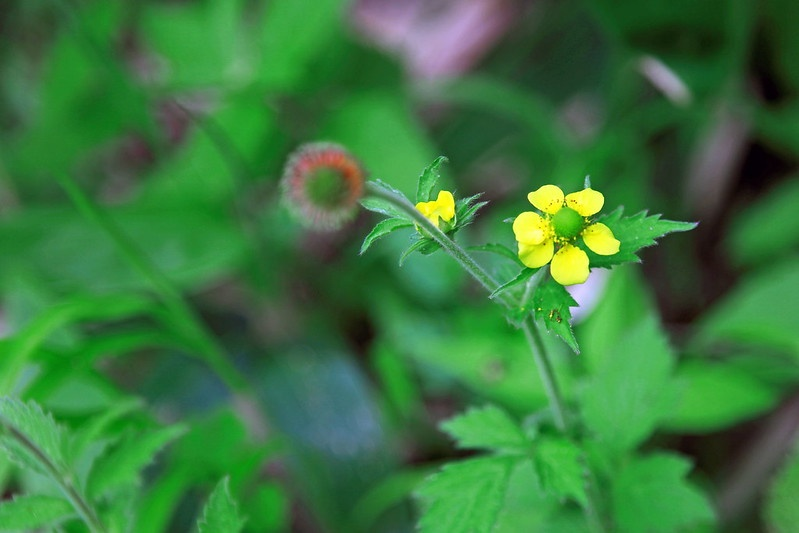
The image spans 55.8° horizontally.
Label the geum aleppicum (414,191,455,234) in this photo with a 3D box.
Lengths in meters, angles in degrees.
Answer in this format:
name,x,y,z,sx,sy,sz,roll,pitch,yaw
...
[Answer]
name,x,y,z,sx,sy,sz,roll,pitch,yaw
geum aleppicum,0.109,-0.151,2.154,0.119,0.075,0.100,-12,61,-13
